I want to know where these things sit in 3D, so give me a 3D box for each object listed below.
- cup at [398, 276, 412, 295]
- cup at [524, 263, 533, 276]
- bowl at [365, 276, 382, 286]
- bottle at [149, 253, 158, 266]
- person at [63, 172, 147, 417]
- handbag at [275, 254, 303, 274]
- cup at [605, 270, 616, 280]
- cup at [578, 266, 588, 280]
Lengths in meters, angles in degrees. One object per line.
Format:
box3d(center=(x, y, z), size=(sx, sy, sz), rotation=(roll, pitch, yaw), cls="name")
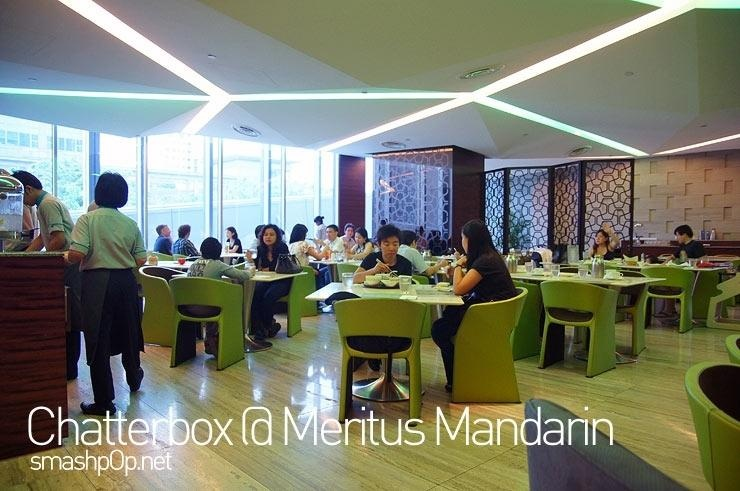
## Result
box3d(center=(0.328, 0.386, 4.924), size=(0.150, 0.157, 0.147), rotation=(0, -5, 0), cls="cup")
box3d(center=(2.075, 0.301, 6.816), size=(0.127, 0.140, 0.125), rotation=(-1, -3, 0), cls="cup")
box3d(center=(0.016, 0.354, 5.120), size=(0.103, 0.064, 0.107), rotation=(0, -6, 0), cls="bowl")
box3d(center=(-2.996, 0.197, 7.094), size=(0.126, 0.155, 0.132), rotation=(1, 13, -10), cls="bottle")
box3d(center=(-2.426, 0.588, 4.787), size=(0.658, 1.872, 0.381), rotation=(-4, 4, -31), cls="person")
box3d(center=(-1.053, 0.252, 6.558), size=(0.215, 0.245, 0.377), rotation=(0, -4, 19), cls="handbag")
box3d(center=(2.837, 0.351, 6.113), size=(0.107, 0.064, 0.119), rotation=(-3, 5, -45), cls="cup")
box3d(center=(2.498, 0.318, 6.129), size=(0.141, 0.179, 0.135), rotation=(1, -4, 0), cls="cup")
